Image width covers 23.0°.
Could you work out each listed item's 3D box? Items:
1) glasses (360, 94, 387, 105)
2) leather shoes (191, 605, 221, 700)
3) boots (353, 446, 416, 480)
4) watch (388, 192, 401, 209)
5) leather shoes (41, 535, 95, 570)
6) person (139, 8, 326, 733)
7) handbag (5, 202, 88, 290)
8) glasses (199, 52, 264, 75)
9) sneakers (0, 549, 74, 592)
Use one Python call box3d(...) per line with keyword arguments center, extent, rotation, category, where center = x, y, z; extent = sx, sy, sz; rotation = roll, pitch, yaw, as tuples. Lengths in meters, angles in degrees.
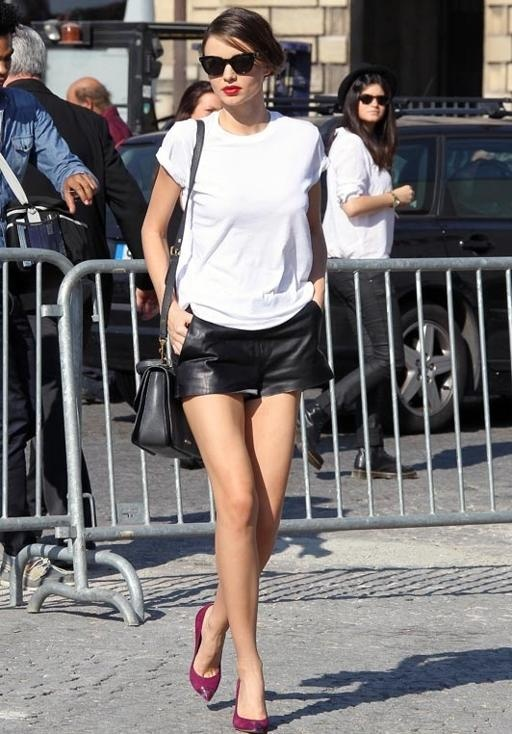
box3d(center=(0.585, -1.298, 6.202), extent=(0.077, 0.023, 0.073), rotation=(1, 0, -9), category="glasses")
box3d(center=(-0.128, 0.714, 3.242), extent=(0.075, 0.259, 0.040), rotation=(7, -15, -13), category="leather shoes")
box3d(center=(0.638, 0.496, 6.471), extent=(0.355, 0.204, 0.143), rotation=(-1, 0, -4), category="boots")
box3d(center=(0.694, -0.822, 6.258), extent=(0.034, 0.061, 0.059), rotation=(-7, 44, 4), category="watch")
box3d(center=(-0.695, 0.692, 4.695), extent=(0.240, 0.072, 0.144), rotation=(9, -7, -41), category="leather shoes")
box3d(center=(-0.033, -0.026, 3.144), extent=(0.367, 1.726, 0.592), rotation=(0, 6, 13), category="person")
box3d(center=(-0.759, -0.418, 4.504), extent=(0.256, 0.290, 0.115), rotation=(-9, 4, -31), category="handbag")
box3d(center=(-0.062, -0.734, 3.121), extent=(0.122, 0.057, 0.063), rotation=(0, 6, 12), category="glasses")
box3d(center=(-0.839, 0.744, 4.636), extent=(0.306, 0.115, 0.120), rotation=(1, 0, 12), category="sneakers")
